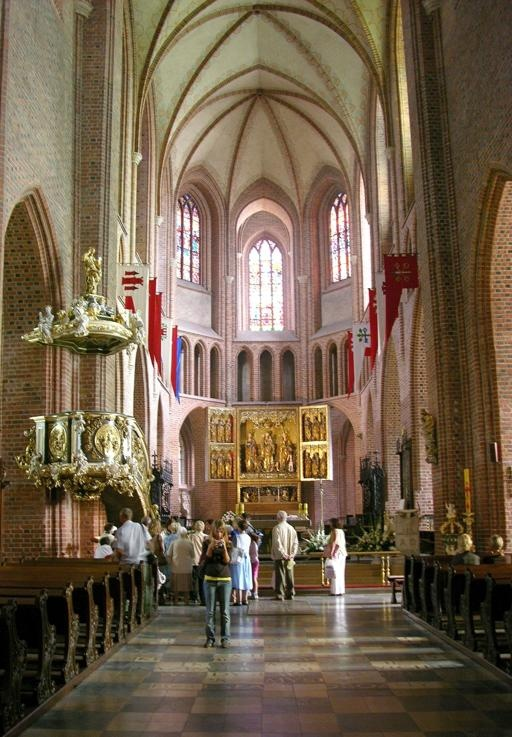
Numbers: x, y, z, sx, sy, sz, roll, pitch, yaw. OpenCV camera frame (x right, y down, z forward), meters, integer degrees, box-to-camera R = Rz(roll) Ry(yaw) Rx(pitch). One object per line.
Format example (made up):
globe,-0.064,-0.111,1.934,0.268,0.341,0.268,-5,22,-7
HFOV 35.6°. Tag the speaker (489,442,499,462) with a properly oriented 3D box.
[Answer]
speaker,3.411,1.177,11.303,0.129,0.277,0.067,-4,-9,15

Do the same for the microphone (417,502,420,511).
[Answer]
microphone,3.495,2.924,17.045,0.081,0.154,0.048,-3,-9,5

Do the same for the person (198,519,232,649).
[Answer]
person,-0.366,2.024,7.582,0.280,1.151,0.767,-2,-9,-3

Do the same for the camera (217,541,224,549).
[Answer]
camera,-0.318,1.633,7.367,0.060,0.061,0.034,-4,-9,13

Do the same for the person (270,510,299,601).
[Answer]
person,0.462,2.840,12.203,0.441,1.207,0.363,7,-9,-31

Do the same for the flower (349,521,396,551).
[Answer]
flower,2.527,3.880,17.944,1.236,0.631,1.158,-6,-9,18
